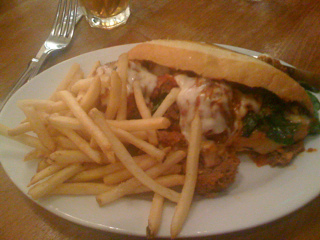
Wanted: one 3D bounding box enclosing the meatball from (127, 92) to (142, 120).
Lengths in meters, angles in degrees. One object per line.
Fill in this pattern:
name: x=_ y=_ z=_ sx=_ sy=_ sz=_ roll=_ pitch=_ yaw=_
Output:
meatball: x=-0.241 y=-0.122 z=2.706 sx=0.076 sy=0.146 sz=0.207 roll=13 pitch=110 yaw=28
